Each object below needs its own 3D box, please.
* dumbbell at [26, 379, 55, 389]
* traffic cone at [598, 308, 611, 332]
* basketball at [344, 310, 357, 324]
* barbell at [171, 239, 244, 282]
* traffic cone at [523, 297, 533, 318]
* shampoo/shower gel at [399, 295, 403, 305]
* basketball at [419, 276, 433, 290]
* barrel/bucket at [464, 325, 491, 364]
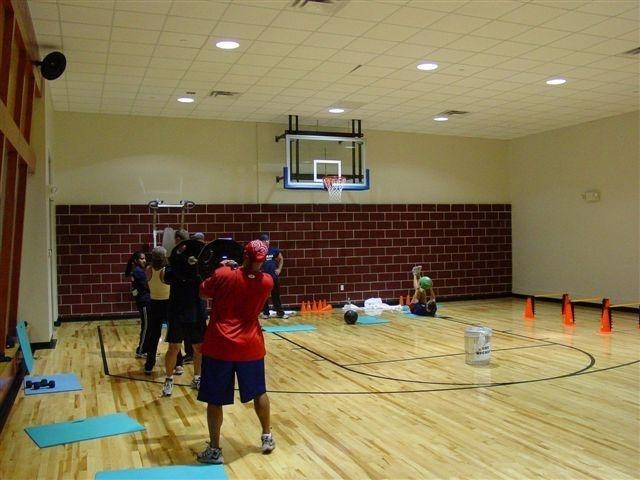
[{"bbox_3d":[-3.621,1.866,6.047,0.378,0.089,0.292,0,-1,-10],"label":"dumbbell"},{"bbox_3d":[5.673,1.607,9.217,0.182,0.527,0.426,-1,-1,32],"label":"traffic cone"},{"bbox_3d":[0.690,1.728,10.368,0.266,0.300,0.293,-1,-1,2],"label":"basketball"},{"bbox_3d":[-1.180,0.193,4.805,0.463,0.411,0.810,1,-2,-31],"label":"barbell"},{"bbox_3d":[4.937,1.593,10.937,0.203,0.532,0.378,-1,-1,23],"label":"traffic cone"},{"bbox_3d":[2.309,1.688,13.019,0.139,0.280,0.482,-1,-1,11],"label":"shampoo/shower gel"},{"bbox_3d":[2.526,0.994,10.999,0.350,0.269,0.275,12,11,22],"label":"basketball"},{"bbox_3d":[2.434,1.588,7.172,0.511,0.524,0.499,-1,0,0],"label":"barrel/bucket"}]
